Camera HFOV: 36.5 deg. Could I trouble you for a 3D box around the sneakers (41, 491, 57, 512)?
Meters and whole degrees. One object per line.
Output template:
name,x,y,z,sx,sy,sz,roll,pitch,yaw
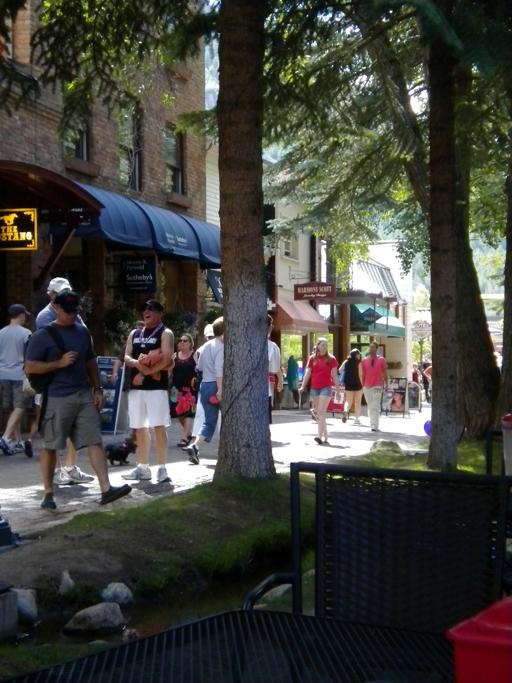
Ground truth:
sneakers,-1.750,1.374,6.603,0.133,0.157,0.150,-5,-6,-27

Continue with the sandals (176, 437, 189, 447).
sandals,-1.122,1.551,11.838,0.192,0.149,0.519,-2,-8,-1

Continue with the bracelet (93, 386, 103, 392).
bracelet,-1.416,0.433,6.980,0.064,0.048,0.062,-7,-10,-10

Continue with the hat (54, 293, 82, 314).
hat,-1.646,-0.346,6.764,0.140,0.129,0.204,-16,24,-29

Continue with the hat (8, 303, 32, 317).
hat,-3.266,-0.417,10.713,0.164,0.151,0.256,6,14,19

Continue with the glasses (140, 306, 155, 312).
glasses,-1.173,-0.345,8.333,0.086,0.072,0.149,8,11,30

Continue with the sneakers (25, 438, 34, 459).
sneakers,-2.938,1.399,10.095,0.088,0.279,0.110,1,4,-3

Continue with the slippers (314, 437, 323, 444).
slippers,1.040,1.688,13.086,0.059,0.178,0.062,-22,8,28

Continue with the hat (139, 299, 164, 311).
hat,-1.118,-0.387,8.335,0.139,0.120,0.217,-6,-34,26

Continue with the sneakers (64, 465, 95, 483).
sneakers,-1.877,1.422,8.219,0.357,0.176,0.135,6,5,-3

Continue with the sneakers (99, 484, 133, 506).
sneakers,-1.204,1.329,6.653,0.281,0.152,0.182,-9,-5,2

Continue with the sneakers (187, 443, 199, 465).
sneakers,-0.816,1.474,9.975,0.096,0.294,0.124,2,31,32

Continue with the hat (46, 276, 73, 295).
hat,-1.939,-0.560,7.763,0.317,0.213,0.485,-2,2,-25

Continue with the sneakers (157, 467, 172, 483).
sneakers,-0.977,1.445,8.303,0.149,0.246,0.116,-4,-4,-14
